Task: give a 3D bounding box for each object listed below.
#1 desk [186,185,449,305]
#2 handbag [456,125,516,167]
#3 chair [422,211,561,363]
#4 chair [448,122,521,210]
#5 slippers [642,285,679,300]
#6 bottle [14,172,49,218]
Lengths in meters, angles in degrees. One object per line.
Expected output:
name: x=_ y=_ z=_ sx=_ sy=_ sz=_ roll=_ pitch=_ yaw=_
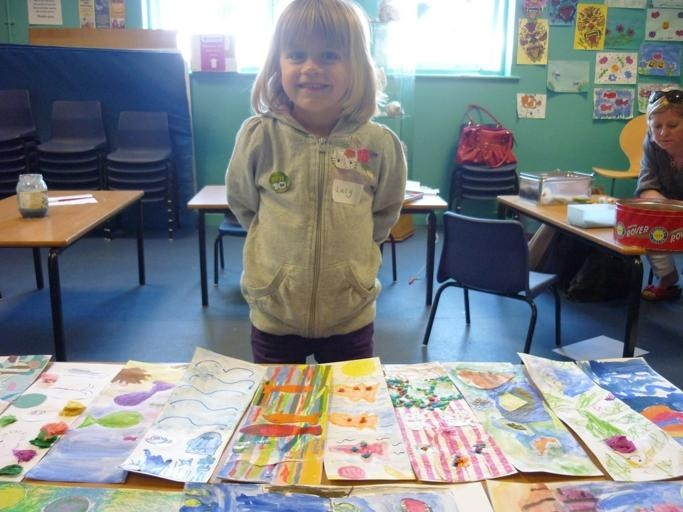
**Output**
desk: x=-0.459 y=-0.231 z=3.682 sx=1.406 sy=0.667 sz=0.943 roll=1 pitch=16 yaw=1
handbag: x=1.477 y=-1.098 z=5.121 sx=0.604 sy=0.399 sz=0.285 roll=7 pitch=13 yaw=28
chair: x=0.823 y=0.122 z=2.740 sx=0.574 sy=0.683 sz=0.625 roll=-9 pitch=16 yaw=-37
chair: x=1.305 y=-0.984 z=5.428 sx=0.839 sy=1.096 sz=0.819 roll=-2 pitch=21 yaw=0
slippers: x=2.199 y=0.242 z=3.534 sx=0.242 sy=0.064 sz=0.105 roll=0 pitch=5 yaw=-10
bottle: x=-1.578 y=-0.310 z=2.622 sx=0.130 sy=0.211 sz=0.151 roll=-11 pitch=18 yaw=-32
